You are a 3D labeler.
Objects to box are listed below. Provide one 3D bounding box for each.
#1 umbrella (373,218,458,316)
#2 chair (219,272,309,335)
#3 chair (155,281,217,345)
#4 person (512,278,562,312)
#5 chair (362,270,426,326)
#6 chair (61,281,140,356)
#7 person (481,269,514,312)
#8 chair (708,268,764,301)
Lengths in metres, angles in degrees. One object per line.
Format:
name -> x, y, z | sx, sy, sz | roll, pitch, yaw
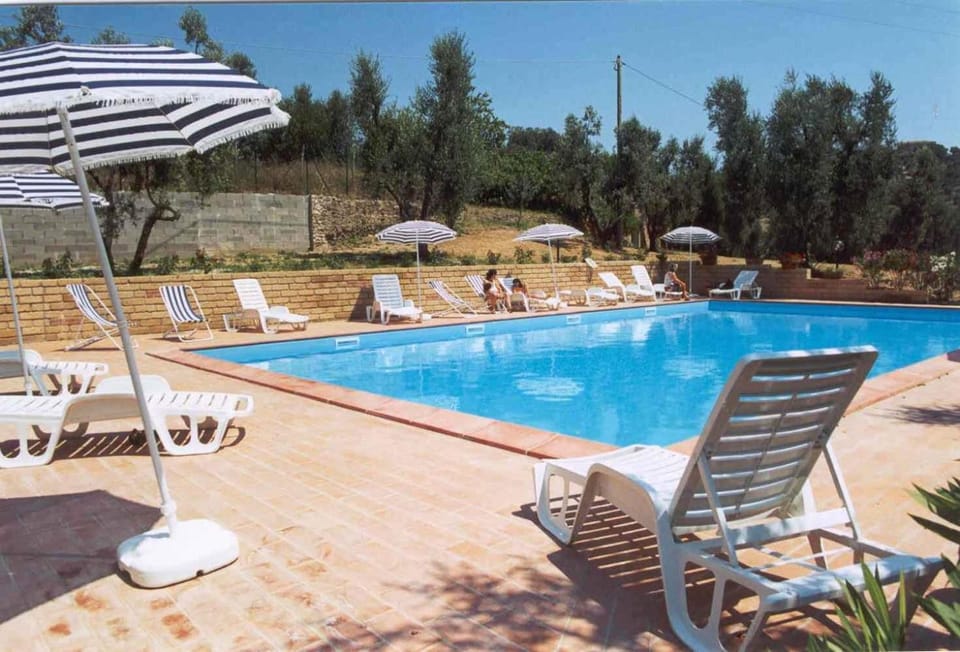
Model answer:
umbrella -> -1.472, -1.561, 18.148 | 2.232, 2.600, 2.261 | 3, 8, 38
chair -> -4.055, -0.420, 14.478 | 1.479, 1.031, 1.016 | 2, 5, 37
chair -> -5.162, -0.276, 13.581 | 0.733, 1.020, 1.485 | -10, 20, -38
person -> 1.306, -0.752, 18.813 | 1.246, 0.869, 0.704 | 8, 10, 31
chair -> -1.792, -0.587, 15.987 | 0.846, 0.889, 1.301 | -5, 7, -32
chair -> -5.825, -0.114, 11.608 | 1.204, 1.162, 0.849 | 12, 9, 1
person -> 0.479, -0.823, 18.021 | 0.715, 0.966, 0.828 | -6, 15, -21
chair -> 7.519, -1.170, 21.773 | 1.519, 0.782, 0.793 | -3, 4, -29
